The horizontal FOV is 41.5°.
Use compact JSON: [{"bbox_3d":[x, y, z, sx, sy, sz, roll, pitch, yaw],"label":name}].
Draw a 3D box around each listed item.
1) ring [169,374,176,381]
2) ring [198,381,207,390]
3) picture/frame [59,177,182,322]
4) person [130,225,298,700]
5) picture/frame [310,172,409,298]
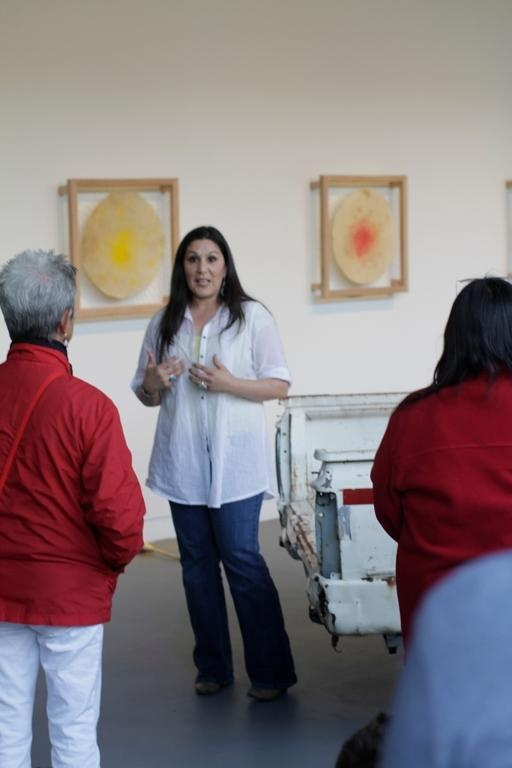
[{"bbox_3d":[-0.285,-0.022,2.335,0.020,0.030,0.034,-1,6,10],"label":"ring"},{"bbox_3d":[-0.179,0.004,2.310,0.023,0.013,0.032,23,-13,-8],"label":"ring"},{"bbox_3d":[-0.743,-0.737,3.881,0.800,0.810,0.180,-8,9,-40],"label":"picture/frame"},{"bbox_3d":[-0.159,0.327,2.465,0.579,1.782,0.362,-1,6,8],"label":"person"},{"bbox_3d":[0.802,-1.032,4.812,0.808,0.773,0.891,3,14,24],"label":"picture/frame"}]
